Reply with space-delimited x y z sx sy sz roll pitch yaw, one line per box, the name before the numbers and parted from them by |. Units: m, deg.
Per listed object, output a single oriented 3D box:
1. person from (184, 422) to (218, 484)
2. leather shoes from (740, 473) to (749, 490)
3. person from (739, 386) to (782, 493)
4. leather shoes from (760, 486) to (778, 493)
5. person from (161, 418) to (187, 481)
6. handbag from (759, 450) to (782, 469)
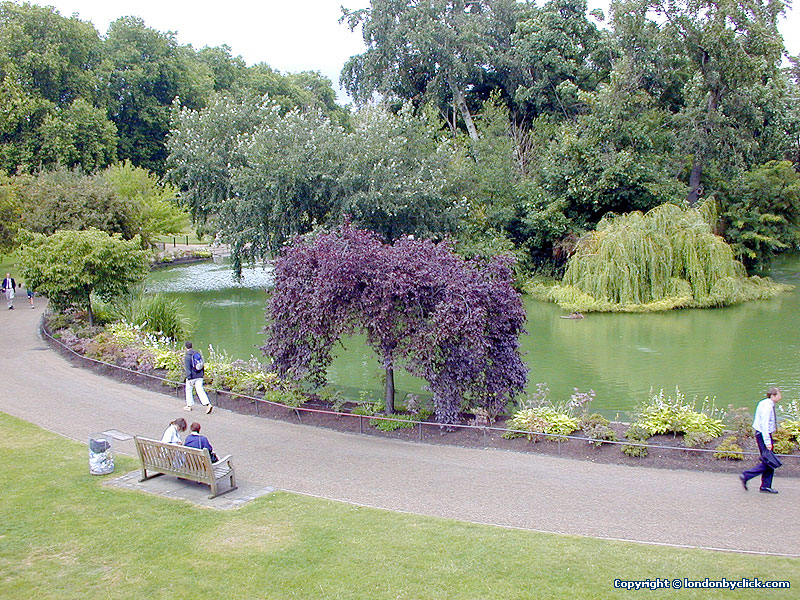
person | -5.610 3.965 26.236 0.903 1.159 2.198 0 -1 -6
leather shoes | 9.391 4.964 25.548 0.203 0.539 0.172 -12 6 15
person | 9.854 3.862 25.562 0.966 2.858 0.720 0 0 8
leather shoes | 10.050 5.176 25.488 0.476 0.214 0.170 0 4 12
person | -6.422 3.959 26.388 0.681 1.289 0.561 12 16 -16
handbag | 10.052 4.337 25.321 0.489 0.516 0.272 0 0 15
